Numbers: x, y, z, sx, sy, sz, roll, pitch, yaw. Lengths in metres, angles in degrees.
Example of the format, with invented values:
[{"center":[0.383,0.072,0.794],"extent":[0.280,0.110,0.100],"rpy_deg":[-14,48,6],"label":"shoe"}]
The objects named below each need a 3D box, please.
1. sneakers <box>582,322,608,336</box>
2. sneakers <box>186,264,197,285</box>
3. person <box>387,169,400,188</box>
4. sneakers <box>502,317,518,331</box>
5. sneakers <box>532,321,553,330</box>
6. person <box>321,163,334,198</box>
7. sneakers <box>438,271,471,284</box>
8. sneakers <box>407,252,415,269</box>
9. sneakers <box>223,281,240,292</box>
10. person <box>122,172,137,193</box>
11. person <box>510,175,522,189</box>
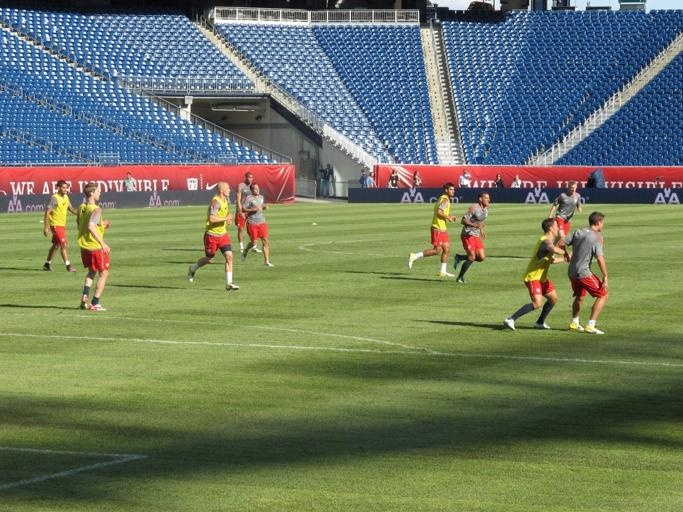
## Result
[{"center":[4.656,1.363,25.786],"extent":[0.452,0.170,0.154],"rpy_deg":[10,8,-11],"label":"sneakers"},{"center":[-3.259,0.447,31.181],"extent":[0.184,0.482,0.234],"rpy_deg":[0,11,-38],"label":"sneakers"},{"center":[2.444,-3.587,64.599],"extent":[0.508,0.769,0.569],"rpy_deg":[5,8,1],"label":"person"},{"center":[3.144,1.287,25.989],"extent":[0.126,0.138,0.342],"rpy_deg":[-6,-14,33],"label":"sneakers"},{"center":[3.763,1.325,26.254],"extent":[0.351,0.135,0.119],"rpy_deg":[2,14,-1],"label":"sneakers"},{"center":[-0.631,-3.629,67.781],"extent":[0.711,1.553,1.214],"rpy_deg":[4,8,-1],"label":"person"},{"center":[2.590,0.498,31.997],"extent":[0.672,0.261,0.219],"rpy_deg":[1,4,20],"label":"sneakers"},{"center":[1.650,0.183,33.031],"extent":[0.137,0.373,0.175],"rpy_deg":[-17,40,-36],"label":"sneakers"},{"center":[-2.353,0.682,30.173],"extent":[0.323,0.191,0.140],"rpy_deg":[-2,6,-2],"label":"sneakers"},{"center":[-8.615,-3.036,57.285],"extent":[0.530,0.772,0.785],"rpy_deg":[3,8,-9],"label":"person"},{"center":[7.938,-3.365,63.251],"extent":[0.454,0.507,0.723],"rpy_deg":[5,8,6],"label":"person"}]
